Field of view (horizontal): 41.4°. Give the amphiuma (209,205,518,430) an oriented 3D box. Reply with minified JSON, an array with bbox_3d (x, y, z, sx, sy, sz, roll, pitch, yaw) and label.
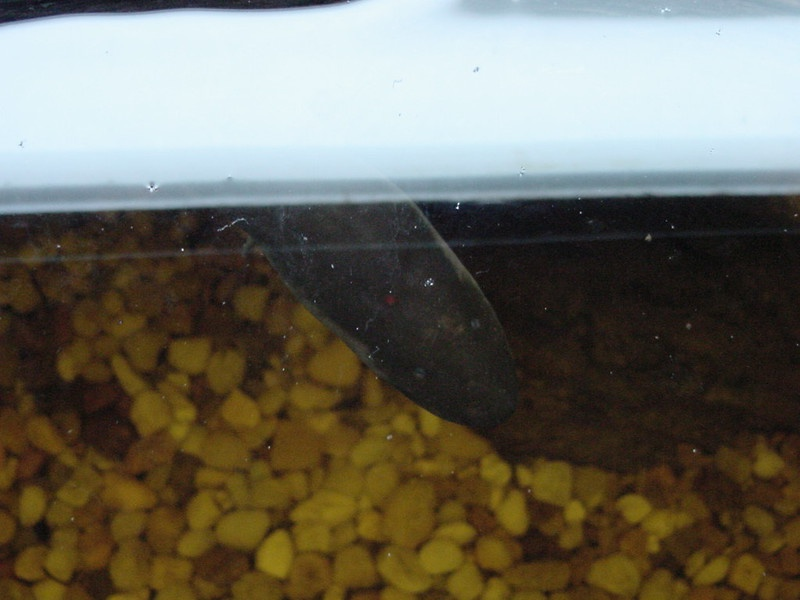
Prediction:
[{"bbox_3d":[-0.017,-0.009,2.390,0.327,0.154,0.744,-41,83,-6],"label":"amphiuma"}]
